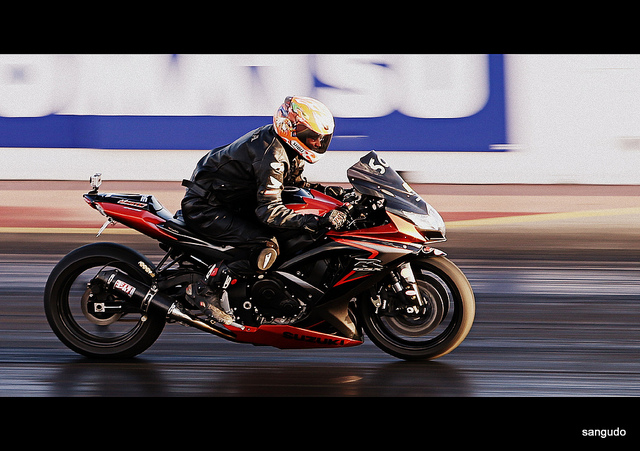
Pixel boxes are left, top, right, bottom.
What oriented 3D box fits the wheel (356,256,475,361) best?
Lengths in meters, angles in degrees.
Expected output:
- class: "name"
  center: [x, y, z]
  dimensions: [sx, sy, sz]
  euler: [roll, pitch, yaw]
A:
- class: "wheel"
  center: [0.938, 0.860, 7.987]
  dimensions: [1.812, 0.284, 1.118]
  euler: [3, 98, 6]
